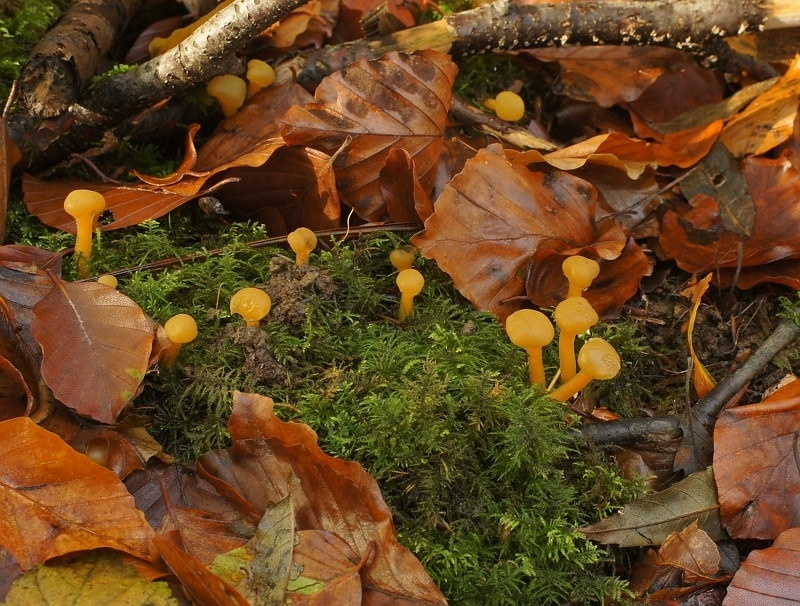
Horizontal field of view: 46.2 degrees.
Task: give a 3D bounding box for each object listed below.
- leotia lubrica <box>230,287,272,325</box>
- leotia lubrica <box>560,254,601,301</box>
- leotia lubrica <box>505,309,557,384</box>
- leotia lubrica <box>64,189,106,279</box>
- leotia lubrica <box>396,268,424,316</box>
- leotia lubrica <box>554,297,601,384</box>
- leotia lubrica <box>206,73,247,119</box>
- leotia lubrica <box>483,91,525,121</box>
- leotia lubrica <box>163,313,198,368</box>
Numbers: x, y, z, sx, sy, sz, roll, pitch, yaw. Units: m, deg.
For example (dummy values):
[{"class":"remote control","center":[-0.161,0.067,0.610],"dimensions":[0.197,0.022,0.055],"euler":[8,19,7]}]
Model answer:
[{"class":"leotia lubrica","center":[-0.568,0.005,3.658],"dimensions":[0.143,0.143,0.139],"euler":[-45,1,-9]},{"class":"leotia lubrica","center":[0.709,-0.098,3.707],"dimensions":[0.126,0.168,0.114],"euler":[19,28,34]},{"class":"leotia lubrica","center":[0.496,0.168,3.661],"dimensions":[0.177,0.328,0.249],"euler":[6,23,7]},{"class":"leotia lubrica","center":[-1.303,-0.314,3.905],"dimensions":[0.145,0.353,0.271],"euler":[-5,24,-17]},{"class":"leotia lubrica","center":[0.037,-0.041,3.850],"dimensions":[0.101,0.245,0.209],"euler":[3,22,1]},{"class":"leotia lubrica","center":[0.676,0.153,3.615],"dimensions":[0.141,0.351,0.151],"euler":[-40,68,-8]},{"class":"leotia lubrica","center":[-0.766,-0.924,4.223],"dimensions":[0.187,0.163,0.184],"euler":[-1,-8,-5]},{"class":"leotia lubrica","center":[0.492,-0.903,4.407],"dimensions":[0.194,0.129,0.134],"euler":[13,59,9]},{"class":"leotia lubrica","center":[-0.837,0.148,3.577],"dimensions":[0.096,0.201,0.091],"euler":[-1,59,-30]}]
